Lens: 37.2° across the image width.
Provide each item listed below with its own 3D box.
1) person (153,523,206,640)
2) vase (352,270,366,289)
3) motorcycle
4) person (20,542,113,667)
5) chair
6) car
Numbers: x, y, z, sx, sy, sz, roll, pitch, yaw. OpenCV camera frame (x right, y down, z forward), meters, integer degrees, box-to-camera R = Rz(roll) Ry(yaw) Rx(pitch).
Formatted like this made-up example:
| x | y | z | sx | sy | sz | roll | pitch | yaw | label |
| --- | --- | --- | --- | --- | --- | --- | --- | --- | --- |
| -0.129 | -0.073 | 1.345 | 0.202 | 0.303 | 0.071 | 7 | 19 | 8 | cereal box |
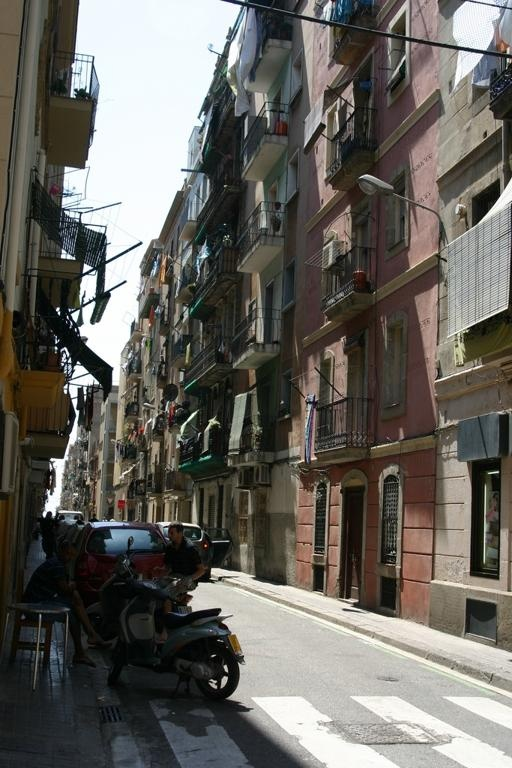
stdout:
| x | y | z | sx | sy | sz | roll | pitch | yaw | label |
| --- | --- | --- | --- | --- | --- | --- | --- | --- | --- |
| -0.846 | 1.897 | 8.022 | 0.409 | 0.700 | 0.855 | -5 | -9 | 24 | person |
| 2.317 | -2.287 | 17.286 | 0.292 | 0.583 | 0.338 | 0 | -12 | 2 | vase |
| -0.632 | 2.118 | 7.048 | 0.735 | 1.479 | 1.671 | 7 | -6 | -38 | motorcycle |
| -1.964 | 2.230 | 7.756 | 0.669 | 1.240 | 0.433 | 2 | -30 | -16 | person |
| -2.258 | 2.254 | 7.669 | 0.419 | 1.117 | 0.542 | 0 | -16 | 4 | chair |
| -1.874 | 2.478 | 10.402 | 1.193 | 1.561 | 2.425 | 3 | -9 | -11 | car |
